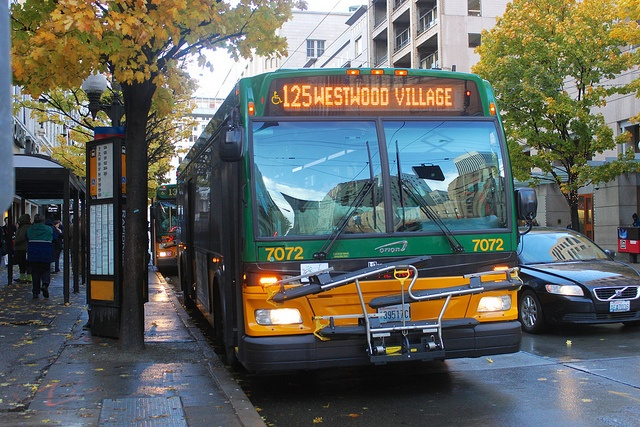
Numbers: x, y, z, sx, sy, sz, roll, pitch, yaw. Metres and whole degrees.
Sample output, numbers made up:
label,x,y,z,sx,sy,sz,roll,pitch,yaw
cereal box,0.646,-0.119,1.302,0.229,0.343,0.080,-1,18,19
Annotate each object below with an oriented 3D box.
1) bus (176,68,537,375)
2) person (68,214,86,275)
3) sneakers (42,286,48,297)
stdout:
label,x,y,z,sx,sy,sz,roll,pitch,yaw
bus,0.530,0.212,7.621,2.201,1.839,5.483,2,-4,-17
person,-7.718,0.991,18.265,0.654,2.463,0.682,-1,9,-24
sneakers,-7.183,2.049,14.935,0.160,0.367,0.143,-2,44,-8
